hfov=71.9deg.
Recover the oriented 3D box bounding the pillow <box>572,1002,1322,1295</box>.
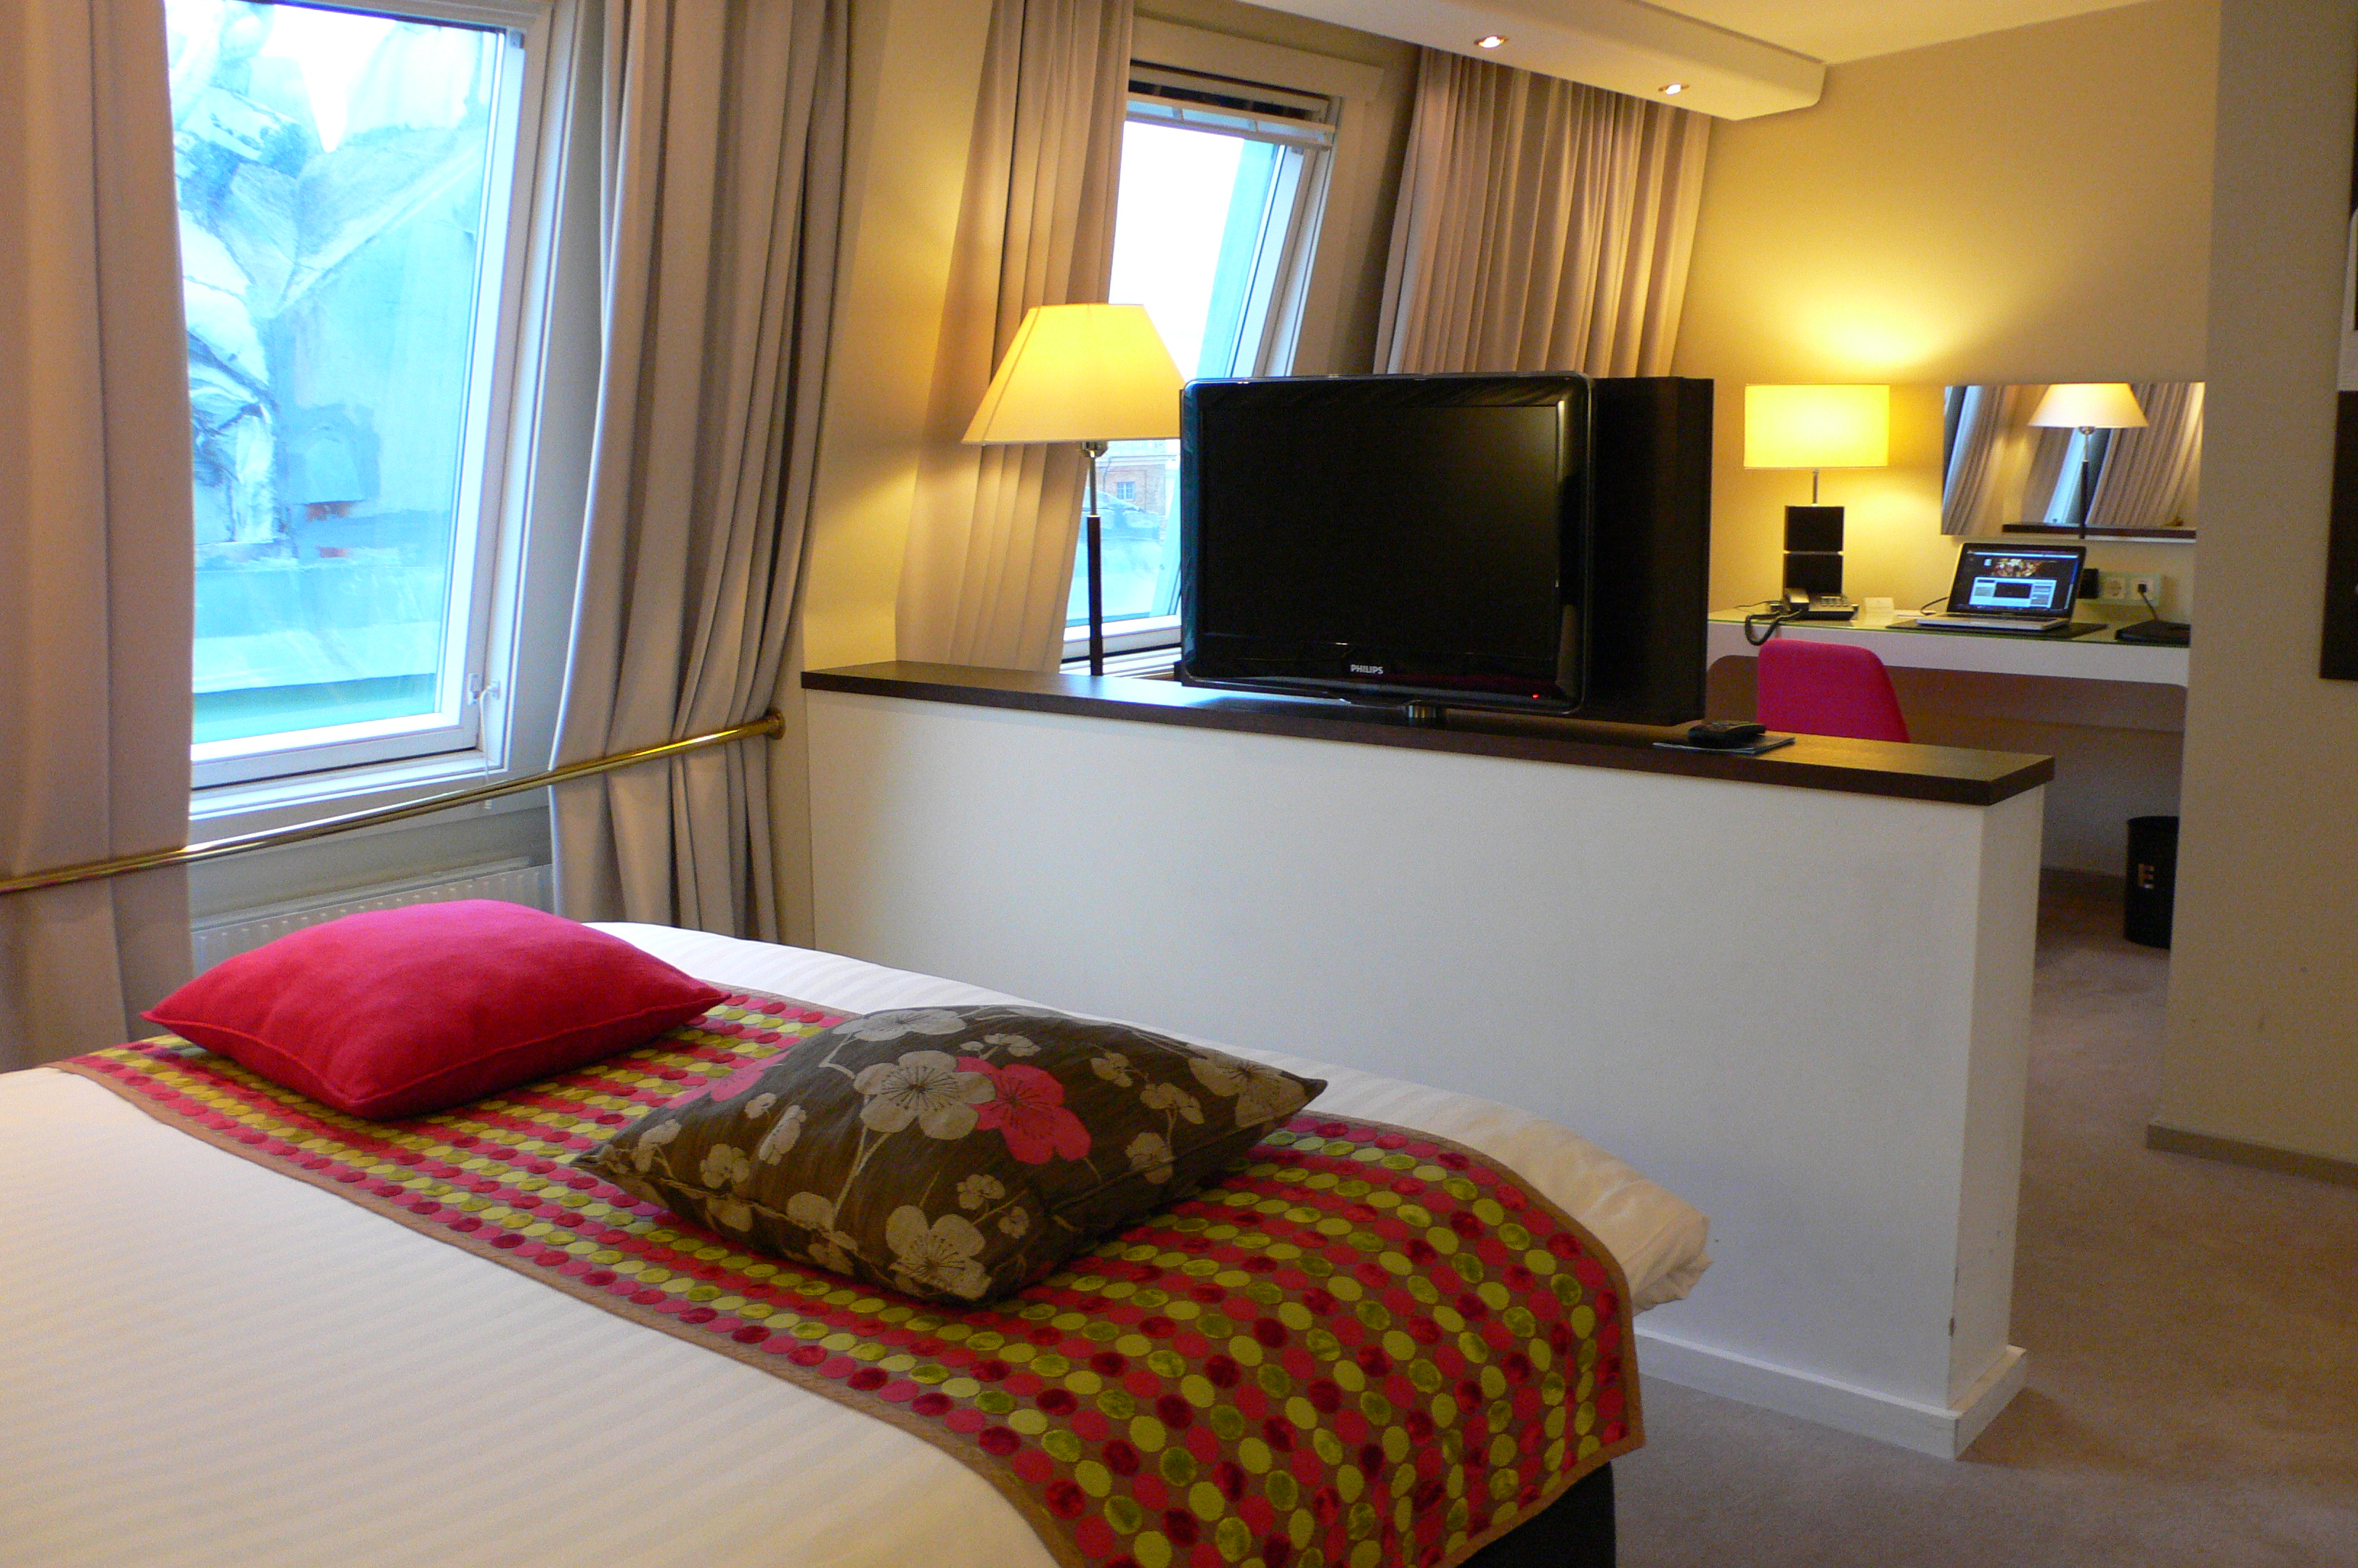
[{"bbox_3d":[-0.360,0.475,2.202,0.509,0.158,0.535,3,6,35],"label":"pillow"}]

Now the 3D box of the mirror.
[{"bbox_3d":[3.288,-1.195,5.937,0.909,0.599,0.019,11,14,43],"label":"mirror"}]

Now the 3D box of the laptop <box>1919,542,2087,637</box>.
[{"bbox_3d":[3.095,-0.738,6.043,0.419,0.273,0.464,-15,18,-43],"label":"laptop"}]

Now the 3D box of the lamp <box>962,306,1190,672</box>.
[{"bbox_3d":[-0.314,-0.794,4.411,0.536,0.989,0.602,3,12,-8],"label":"lamp"}]

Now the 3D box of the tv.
[{"bbox_3d":[0.449,-0.497,3.340,0.741,0.524,0.095,6,12,28],"label":"tv"}]

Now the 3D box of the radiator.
[{"bbox_3d":[-1.605,0.267,3.162,0.619,0.040,0.348,-12,23,-38],"label":"radiator"}]

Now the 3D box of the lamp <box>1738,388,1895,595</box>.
[{"bbox_3d":[2.492,-1.157,6.467,0.563,0.852,0.343,7,12,13],"label":"lamp"}]

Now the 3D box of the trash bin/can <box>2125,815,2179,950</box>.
[{"bbox_3d":[3.367,0.334,5.669,0.168,0.414,0.292,11,13,29],"label":"trash bin/can"}]
